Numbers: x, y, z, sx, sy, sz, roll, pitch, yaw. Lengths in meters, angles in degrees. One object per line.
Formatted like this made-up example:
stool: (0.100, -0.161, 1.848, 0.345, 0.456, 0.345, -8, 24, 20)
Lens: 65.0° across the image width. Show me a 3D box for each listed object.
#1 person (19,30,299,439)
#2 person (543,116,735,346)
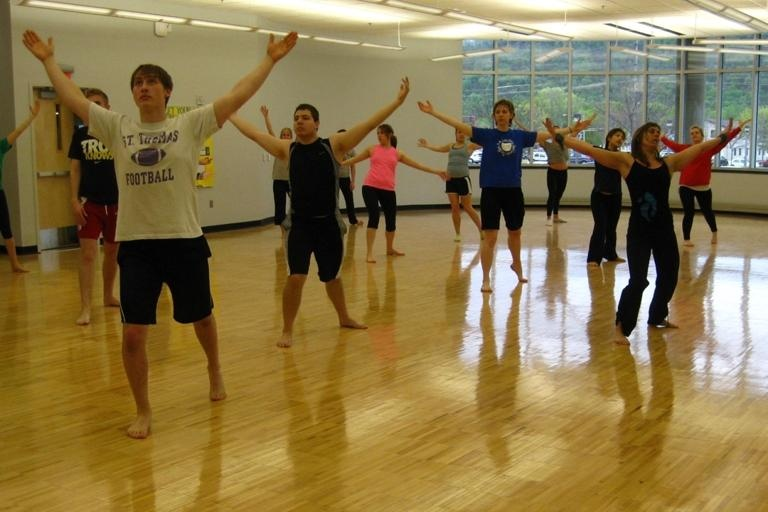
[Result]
person: (-1.366, -0.126, 3.691, 1.377, 2.363, 0.583, -2, 12, -8)
person: (2.240, -0.215, 5.253, 0.785, 1.833, 0.488, -9, 15, -35)
